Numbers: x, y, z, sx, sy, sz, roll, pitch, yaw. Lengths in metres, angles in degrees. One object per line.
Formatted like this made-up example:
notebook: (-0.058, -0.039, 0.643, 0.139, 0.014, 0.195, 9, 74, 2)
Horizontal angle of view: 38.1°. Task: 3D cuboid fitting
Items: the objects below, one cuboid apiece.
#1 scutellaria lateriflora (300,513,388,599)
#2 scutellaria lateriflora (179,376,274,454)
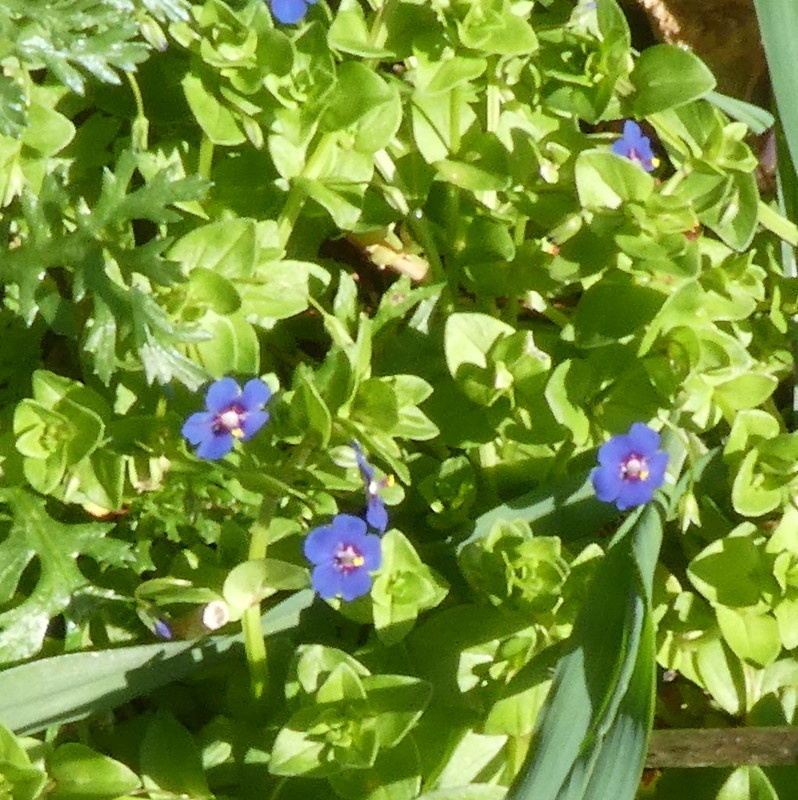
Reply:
scutellaria lateriflora: (-0.055, 0.156, 1.103, 0.076, 0.073, 0.056, 12, 32, -8)
scutellaria lateriflora: (-0.166, 0.015, 1.107, 0.072, 0.077, 0.031, -21, 14, -21)
